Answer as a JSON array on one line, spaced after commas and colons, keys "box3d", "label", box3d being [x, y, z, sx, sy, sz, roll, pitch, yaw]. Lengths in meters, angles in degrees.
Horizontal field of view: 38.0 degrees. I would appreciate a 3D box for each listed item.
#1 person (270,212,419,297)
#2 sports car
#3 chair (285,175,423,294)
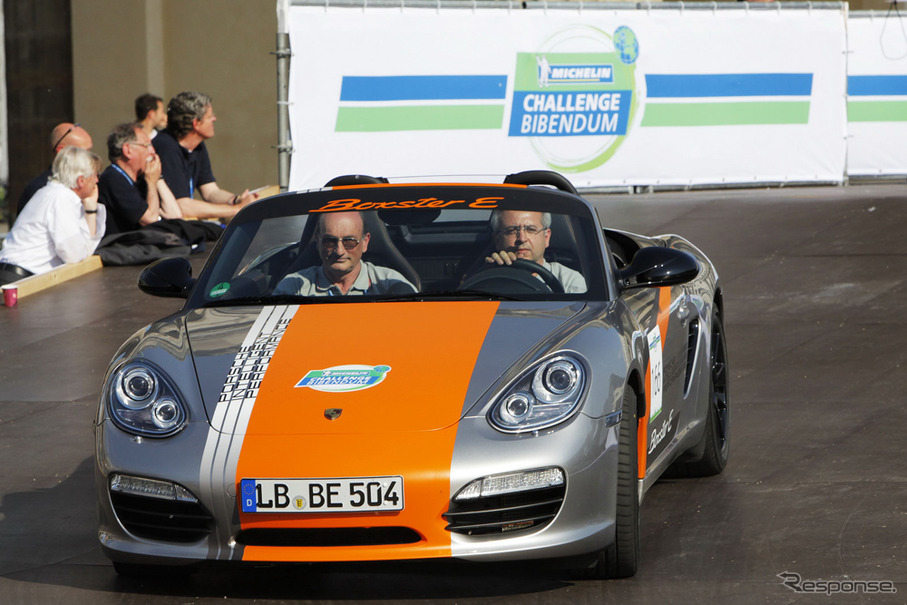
[{"box3d": [-0.658, -0.270, 7.947, 0.897, 0.497, 0.367, 1, -4, 11], "label": "person"}, {"box3d": [-0.206, 0.644, 7.553, 3.694, 1.897, 2.209, -10, 27, -16], "label": "sports car"}, {"box3d": [-0.811, -0.480, 8.286, 0.650, 0.453, 0.901, 5, 15, -7], "label": "chair"}]
